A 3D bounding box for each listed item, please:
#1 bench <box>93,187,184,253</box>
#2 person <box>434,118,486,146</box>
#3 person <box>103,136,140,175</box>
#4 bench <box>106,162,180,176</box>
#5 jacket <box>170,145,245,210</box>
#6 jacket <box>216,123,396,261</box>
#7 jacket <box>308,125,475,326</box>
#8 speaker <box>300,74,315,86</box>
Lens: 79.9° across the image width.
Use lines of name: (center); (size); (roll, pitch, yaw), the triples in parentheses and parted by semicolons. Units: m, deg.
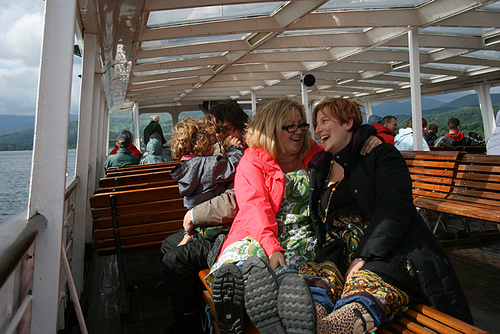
bench: (-1.403, 0.706, 3.556); (1.130, 0.735, 0.455); (-4, 2, -3)
person: (7.000, -1.354, 9.893); (2.221, 1.220, 0.738); (-14, 33, -42)
person: (-3.767, -0.235, 8.897); (1.095, 1.566, 0.791); (-1, 9, -23)
bench: (-2.508, 0.041, 6.853); (1.887, 0.378, 0.271); (-4, -5, -11)
jacket: (-0.440, 0.114, 3.267); (0.616, 0.745, 0.671); (4, 34, 27)
jacket: (0.382, 0.123, 2.572); (1.206, 1.421, 1.013); (-8, -6, -6)
jacket: (1.093, 0.360, 2.222); (0.753, 1.380, 0.635); (-3, 4, -1)
speaker: (2.455, -3.688, 12.599); (0.432, 0.546, 0.609); (-3, 5, 0)
